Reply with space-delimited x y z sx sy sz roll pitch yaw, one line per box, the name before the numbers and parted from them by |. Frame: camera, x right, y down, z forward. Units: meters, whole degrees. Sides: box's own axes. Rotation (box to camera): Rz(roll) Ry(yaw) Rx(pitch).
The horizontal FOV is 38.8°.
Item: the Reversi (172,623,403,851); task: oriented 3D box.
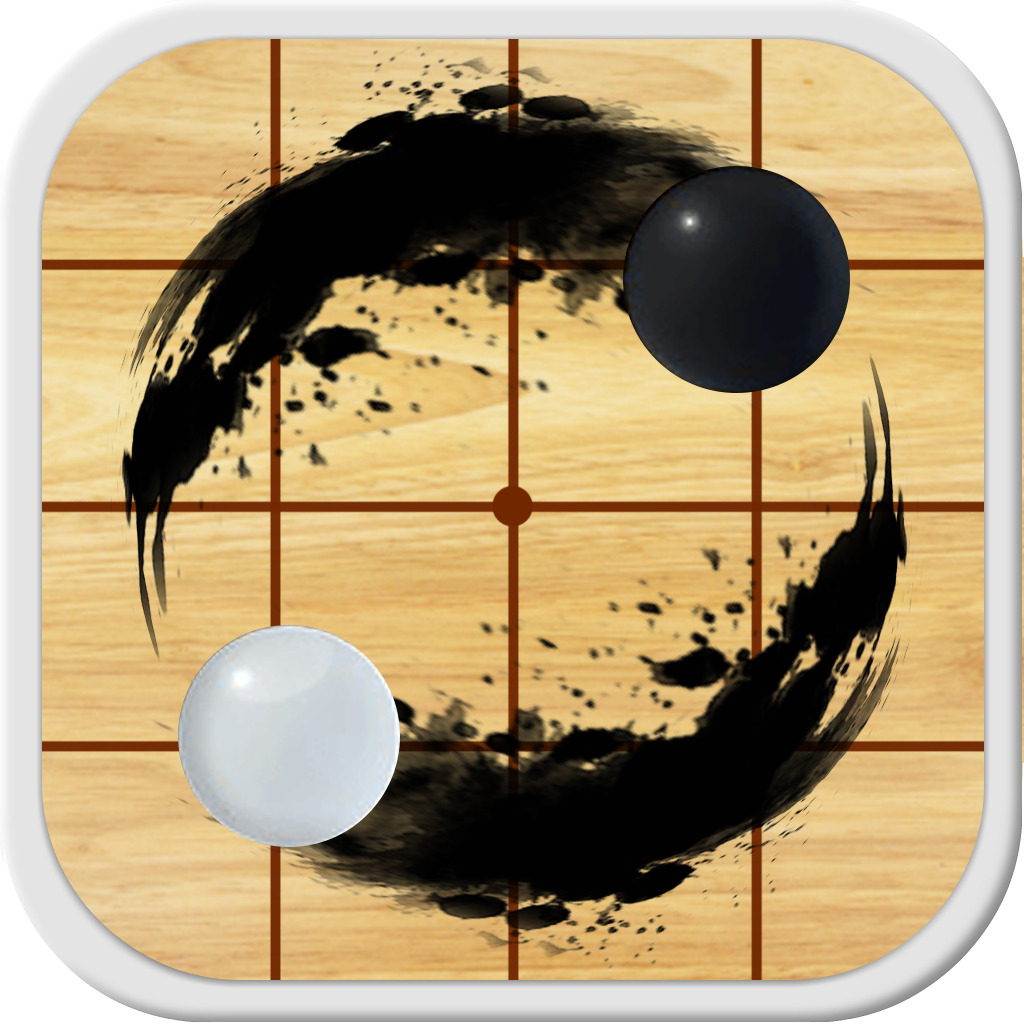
Reversi | -0.222 0.217 1.440 0.207 0.153 0.155 -8 -50 -12
